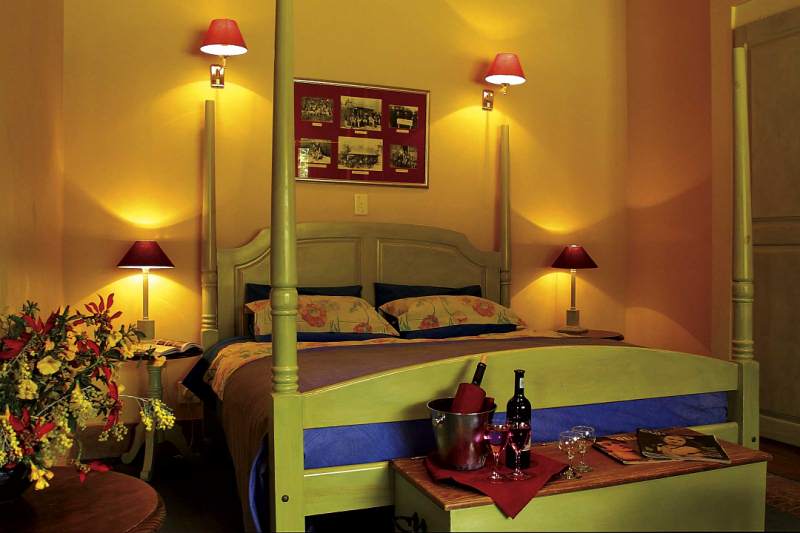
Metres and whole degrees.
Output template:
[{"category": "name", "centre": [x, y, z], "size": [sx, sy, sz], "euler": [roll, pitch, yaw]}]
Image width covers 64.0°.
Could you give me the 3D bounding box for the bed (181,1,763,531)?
[{"category": "bed", "centre": [0.125, -0.397, 3.821], "size": [2.549, 2.350, 3.121], "euler": [-4, 1, -36]}]

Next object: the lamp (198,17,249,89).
[{"category": "lamp", "centre": [-1.281, -1.528, 4.703], "size": [0.304, 0.377, 0.316], "euler": [-13, -13, 42]}]

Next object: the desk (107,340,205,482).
[{"category": "desk", "centre": [-1.724, 0.989, 4.523], "size": [0.682, 0.816, 0.687], "euler": [-5, 0, 23]}]

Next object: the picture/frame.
[{"category": "picture/frame", "centre": [-0.352, -1.074, 5.143], "size": [1.212, 0.778, 0.045], "euler": [1, -2, -23]}]

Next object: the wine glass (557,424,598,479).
[{"category": "wine glass", "centre": [0.801, 0.810, 2.902], "size": [0.187, 0.218, 0.200], "euler": [-2, -1, 41]}]

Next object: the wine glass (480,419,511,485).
[{"category": "wine glass", "centre": [0.434, 0.795, 2.859], "size": [0.121, 0.175, 0.253], "euler": [-3, 1, 7]}]

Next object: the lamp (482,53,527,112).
[{"category": "lamp", "centre": [0.879, -1.521, 5.348], "size": [0.341, 0.408, 0.358], "euler": [6, -3, -41]}]

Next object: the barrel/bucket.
[{"category": "barrel/bucket", "centre": [0.271, 0.779, 2.921], "size": [0.272, 0.242, 0.308], "euler": [-3, -8, 42]}]
